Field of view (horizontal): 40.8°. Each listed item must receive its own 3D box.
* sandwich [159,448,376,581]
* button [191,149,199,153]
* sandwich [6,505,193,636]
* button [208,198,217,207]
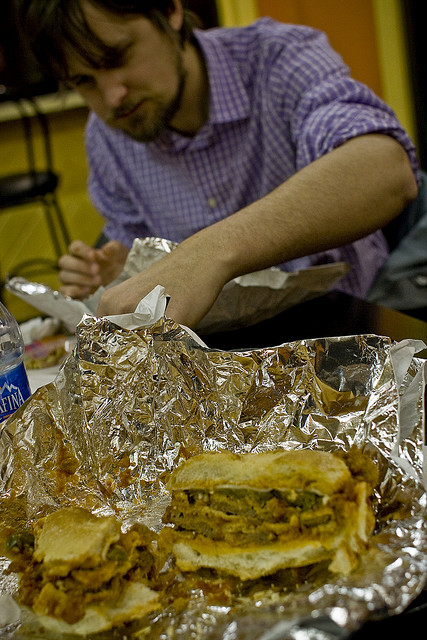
[{"bbox_3d":[0.035,0.128,0.445,0.135,0.067,0.099,0,1,28],"label":"sandwich"},{"bbox_3d":[-0.043,-0.386,1.314,0.014,0.007,0.014,-12,17,-1],"label":"button"},{"bbox_3d":[-0.097,0.162,0.417,0.103,0.037,0.081,14,30,40],"label":"sandwich"},{"bbox_3d":[-0.004,-0.283,1.379,0.021,0.019,0.005,-5,5,2],"label":"button"}]
